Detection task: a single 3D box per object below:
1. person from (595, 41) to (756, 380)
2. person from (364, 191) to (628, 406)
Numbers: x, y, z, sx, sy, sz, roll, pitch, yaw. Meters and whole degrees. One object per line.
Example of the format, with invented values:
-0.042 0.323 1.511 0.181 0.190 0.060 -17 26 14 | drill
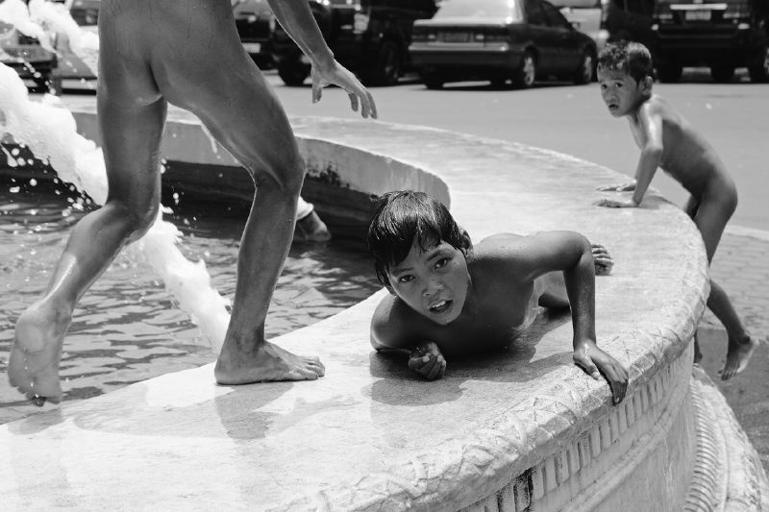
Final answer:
1.658 -0.319 6.181 0.778 1.770 1.341 -7 16 -21 | person
0.439 0.126 4.396 1.002 0.785 0.723 -1 15 -2 | person
